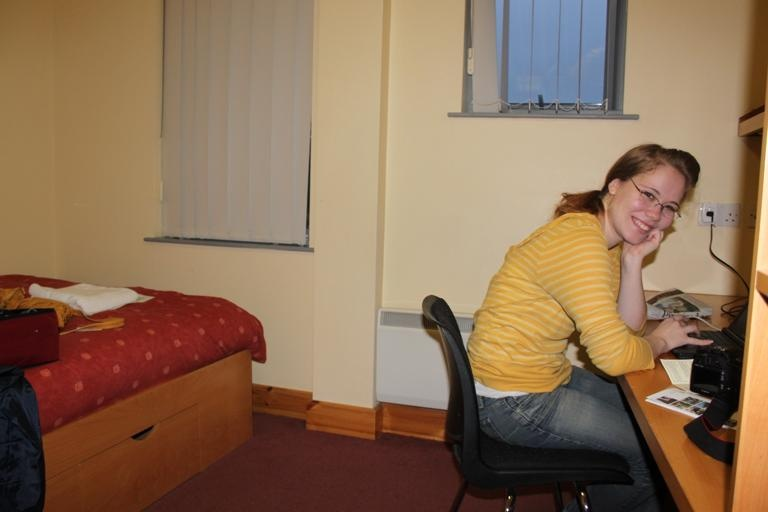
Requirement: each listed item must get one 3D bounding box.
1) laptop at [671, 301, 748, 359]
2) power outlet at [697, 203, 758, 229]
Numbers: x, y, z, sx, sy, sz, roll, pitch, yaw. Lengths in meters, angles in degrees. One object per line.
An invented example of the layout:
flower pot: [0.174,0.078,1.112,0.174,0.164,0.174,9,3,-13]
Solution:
laptop: [1.368,0.316,2.320,0.273,0.163,0.260,-5,-15,10]
power outlet: [1.786,-0.212,2.881,0.282,0.151,0.061,1,6,9]
